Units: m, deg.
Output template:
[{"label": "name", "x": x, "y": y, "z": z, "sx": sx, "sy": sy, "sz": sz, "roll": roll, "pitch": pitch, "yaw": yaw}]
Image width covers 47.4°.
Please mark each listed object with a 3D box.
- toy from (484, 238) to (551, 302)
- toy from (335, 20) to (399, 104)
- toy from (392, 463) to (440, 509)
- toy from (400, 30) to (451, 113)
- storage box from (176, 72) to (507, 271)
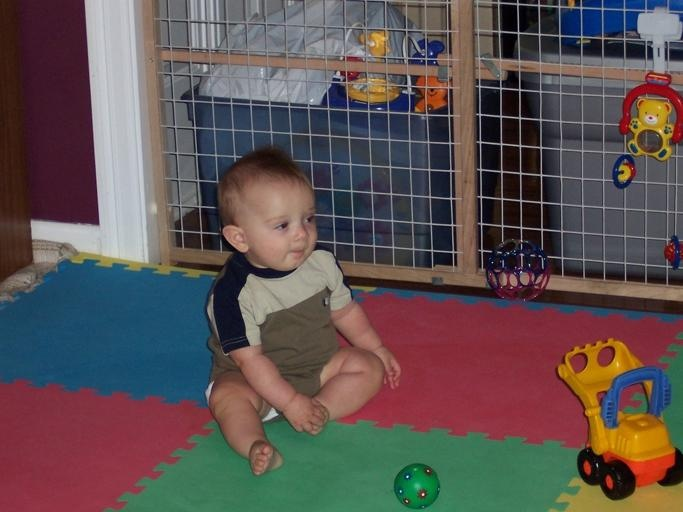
[{"label": "toy", "x": 0.486, "y": 0.018, "z": 2.259, "sx": 0.178, "sy": 0.174, "sz": 0.184, "roll": 1, "pitch": 39, "yaw": -3}, {"label": "toy", "x": 0.098, "y": -0.596, "z": 2.310, "sx": 0.226, "sy": 0.225, "sz": 0.181, "roll": 5, "pitch": 37, "yaw": 10}, {"label": "toy", "x": 0.142, "y": 0.439, "z": 1.476, "sx": 0.089, "sy": 0.080, "sz": 0.067, "roll": -2, "pitch": 4, "yaw": 6}, {"label": "toy", "x": 0.242, "y": -0.553, "z": 2.262, "sx": 0.209, "sy": 0.191, "sz": 0.150, "roll": -2, "pitch": 34, "yaw": -4}, {"label": "storage box", "x": -0.139, "y": -0.393, "z": 2.533, "sx": 0.995, "sy": 0.614, "sz": 0.696, "roll": 4, "pitch": 32, "yaw": -19}]
